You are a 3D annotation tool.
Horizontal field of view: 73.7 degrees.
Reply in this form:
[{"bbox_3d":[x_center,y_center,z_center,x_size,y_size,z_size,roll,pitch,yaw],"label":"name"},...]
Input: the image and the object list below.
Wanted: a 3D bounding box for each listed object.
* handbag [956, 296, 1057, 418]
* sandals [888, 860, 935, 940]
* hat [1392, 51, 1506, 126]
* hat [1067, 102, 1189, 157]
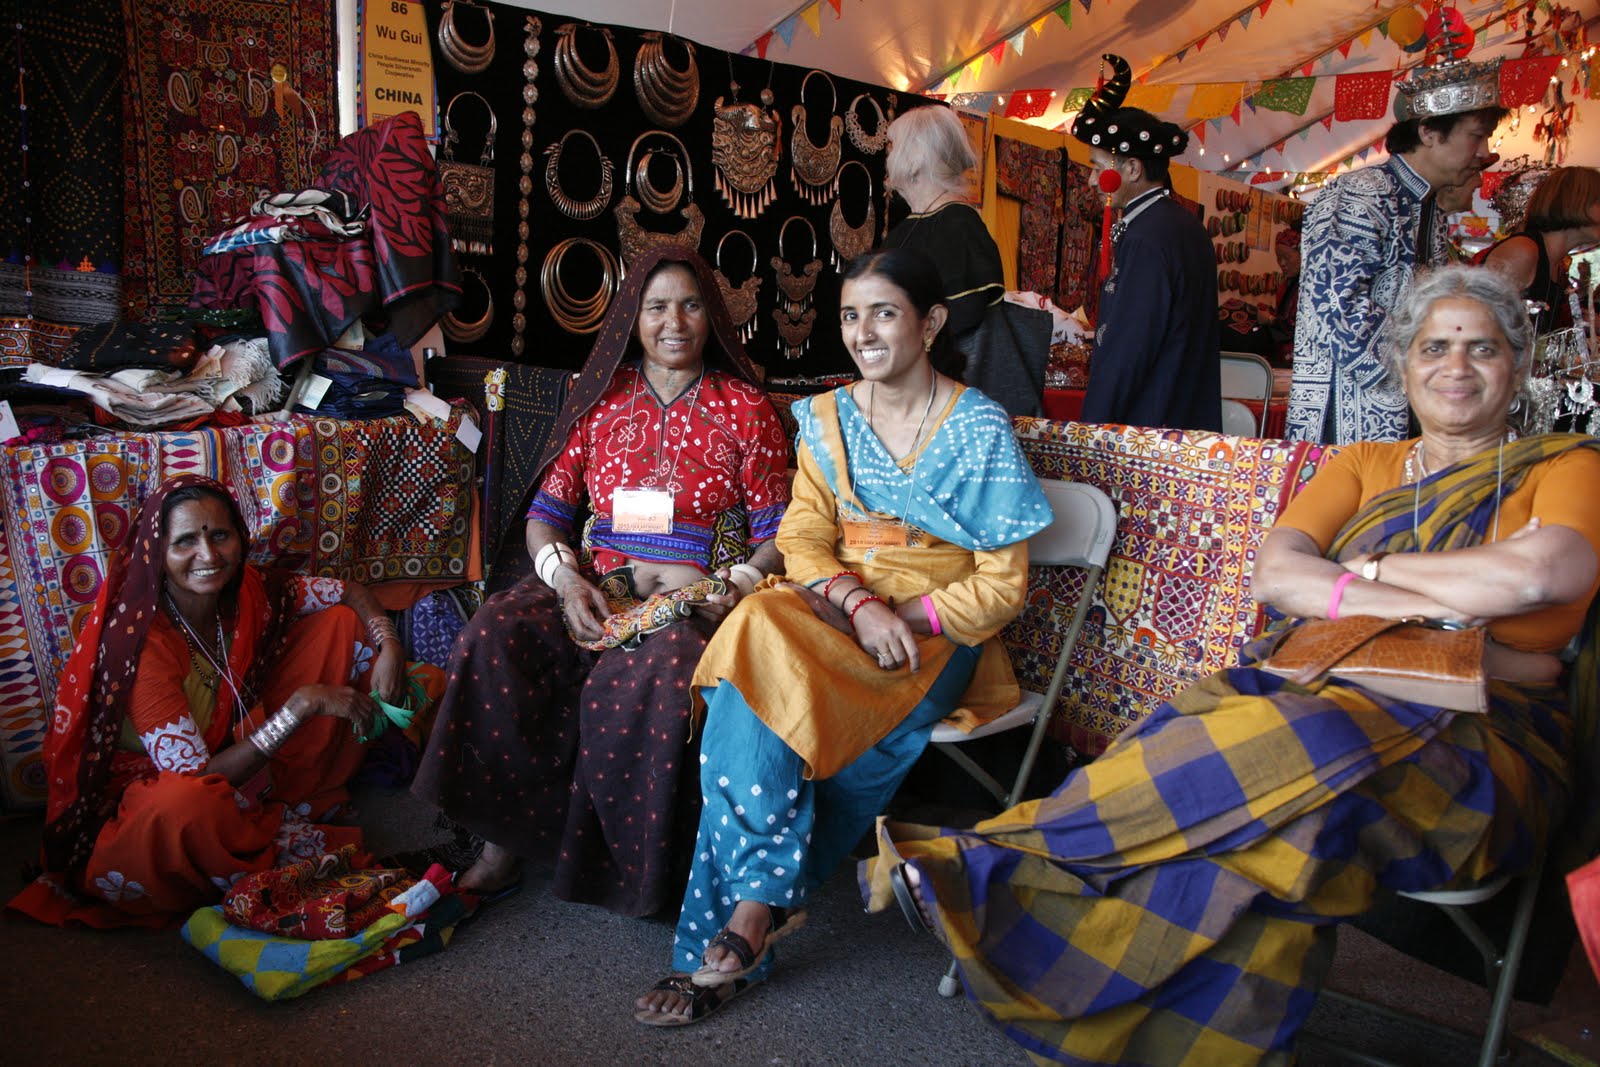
[{"bbox_3d":[0.829,-0.717,3.992,0.326,0.493,0.304,-14,47,1],"label":"handbag"},{"bbox_3d":[0.262,0.869,2.552,0.061,0.139,0.176,-15,60,1],"label":"sandals"},{"bbox_3d":[2.210,-1.466,3.666,0.287,0.147,0.274,3,14,39],"label":"hat"},{"bbox_3d":[1.198,-1.448,3.913,0.272,0.105,0.233,15,30,19],"label":"hat"}]
